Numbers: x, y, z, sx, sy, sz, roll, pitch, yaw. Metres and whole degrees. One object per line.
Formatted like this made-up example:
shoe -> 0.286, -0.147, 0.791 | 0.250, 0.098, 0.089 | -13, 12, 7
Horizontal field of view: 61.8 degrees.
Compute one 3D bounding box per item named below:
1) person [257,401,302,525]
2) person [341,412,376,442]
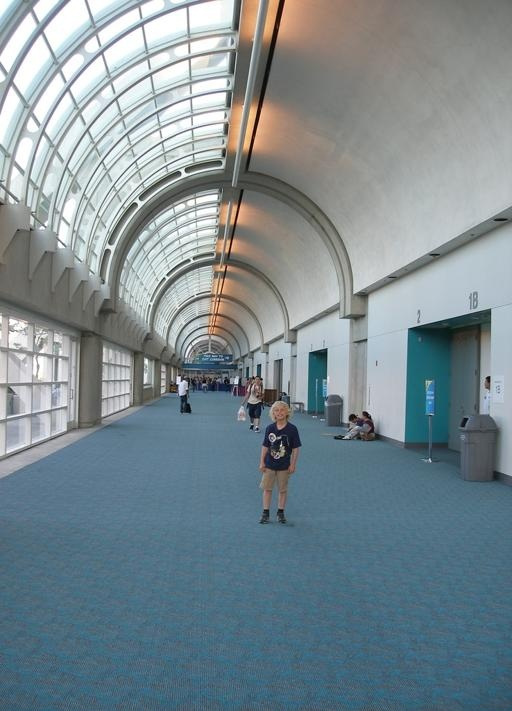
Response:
person -> 0.333, 1.460, 6.139 | 0.562, 1.629, 1.603 | 2, -5, 3
person -> 3.920, 2.784, 16.613 | 1.189, 1.336, 0.929 | 15, -24, -17
